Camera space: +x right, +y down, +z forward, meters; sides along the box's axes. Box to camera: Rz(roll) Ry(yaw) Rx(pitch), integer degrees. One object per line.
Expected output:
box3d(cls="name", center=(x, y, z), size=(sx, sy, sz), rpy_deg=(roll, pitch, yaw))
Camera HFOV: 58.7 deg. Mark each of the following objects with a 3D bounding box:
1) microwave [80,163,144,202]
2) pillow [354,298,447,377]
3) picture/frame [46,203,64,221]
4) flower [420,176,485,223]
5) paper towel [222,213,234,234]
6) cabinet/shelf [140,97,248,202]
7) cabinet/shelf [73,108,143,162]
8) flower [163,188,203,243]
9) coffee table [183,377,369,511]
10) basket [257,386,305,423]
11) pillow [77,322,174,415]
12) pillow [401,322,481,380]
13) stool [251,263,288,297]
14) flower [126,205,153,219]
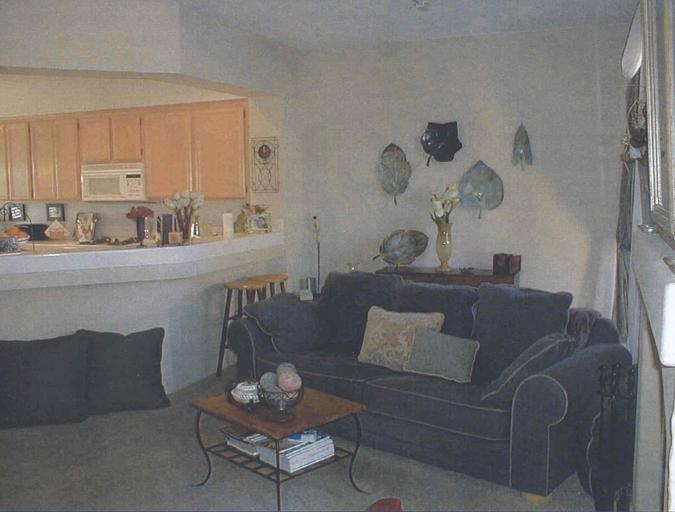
box3d(cls="microwave", center=(-1.604, -0.529, 4.388), size=(0.489, 0.269, 0.237), rpy_deg=(1, 8, 14))
box3d(cls="pillow", center=(0.240, 0.351, 2.608), size=(0.280, 0.273, 0.085), rpy_deg=(9, -17, 45))
box3d(cls="picture/frame", center=(-2.216, -0.347, 4.728), size=(0.129, 0.129, 0.013), rpy_deg=(3, 4, 5))
box3d(cls="flower", center=(0.619, -0.285, 3.370), size=(0.256, 0.139, 0.313), rpy_deg=(17, 9, -1))
box3d(cls="paper towel", center=(-0.641, -0.188, 3.494), size=(0.049, 0.131, 0.053), rpy_deg=(-3, 6, -5))
box3d(cls="cabinet/shelf", center=(-0.970, -0.709, 4.256), size=(0.767, 0.636, 0.271), rpy_deg=(0, 5, 12))
box3d(cls="cabinet/shelf", center=(-1.645, -0.868, 4.517), size=(0.267, 0.429, 0.527), rpy_deg=(19, 22, 36))
box3d(cls="flower", center=(-0.788, -0.199, 3.099), size=(0.164, 0.262, 0.178), rpy_deg=(-7, 7, -41))
box3d(cls="coffee table", center=(-0.196, 0.557, 2.168), size=(0.434, 0.316, 0.475), rpy_deg=(-5, 8, -42))
box3d(cls="basket", center=(-0.202, 0.509, 2.076), size=(0.127, 0.091, 0.108), rpy_deg=(2, 0, 6))
box3d(cls="pillow", center=(-0.782, 0.433, 2.279), size=(0.341, 0.315, 0.100), rpy_deg=(-2, -10, -34))
box3d(cls="pillow", center=(0.429, 0.412, 2.477), size=(0.216, 0.218, 0.065), rpy_deg=(8, -32, 15))
box3d(cls="stool", center=(-0.388, 0.145, 3.656), size=(0.202, 0.214, 0.198), rpy_deg=(2, 5, 18))
box3d(cls="flower", center=(-0.932, -0.206, 2.922), size=(0.129, 0.043, 0.132), rpy_deg=(2, 2, 26))
